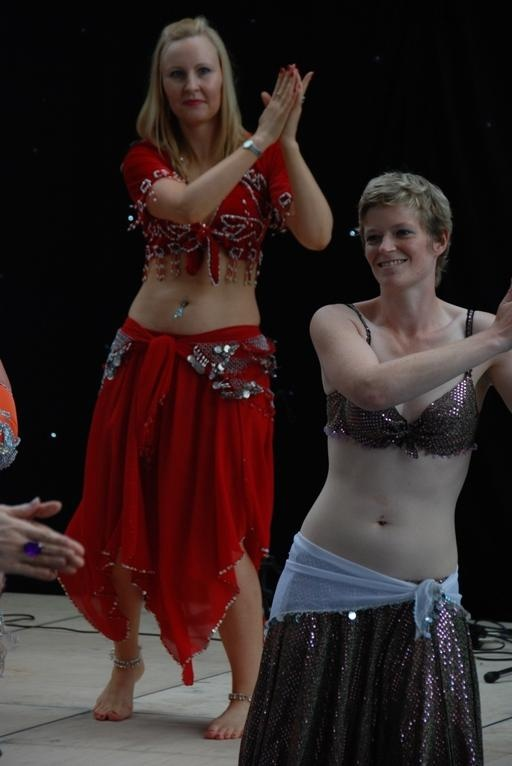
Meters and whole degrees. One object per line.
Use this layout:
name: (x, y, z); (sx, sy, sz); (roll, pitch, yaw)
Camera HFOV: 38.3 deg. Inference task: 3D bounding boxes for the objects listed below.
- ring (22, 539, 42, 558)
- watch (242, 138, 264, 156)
ring: (-0.206, 0.150, 0.666); (0.015, 0.013, 0.003); (-5, -3, 7)
watch: (-0.007, -0.543, 1.697); (0.028, 0.049, 0.047); (-48, 12, -3)
